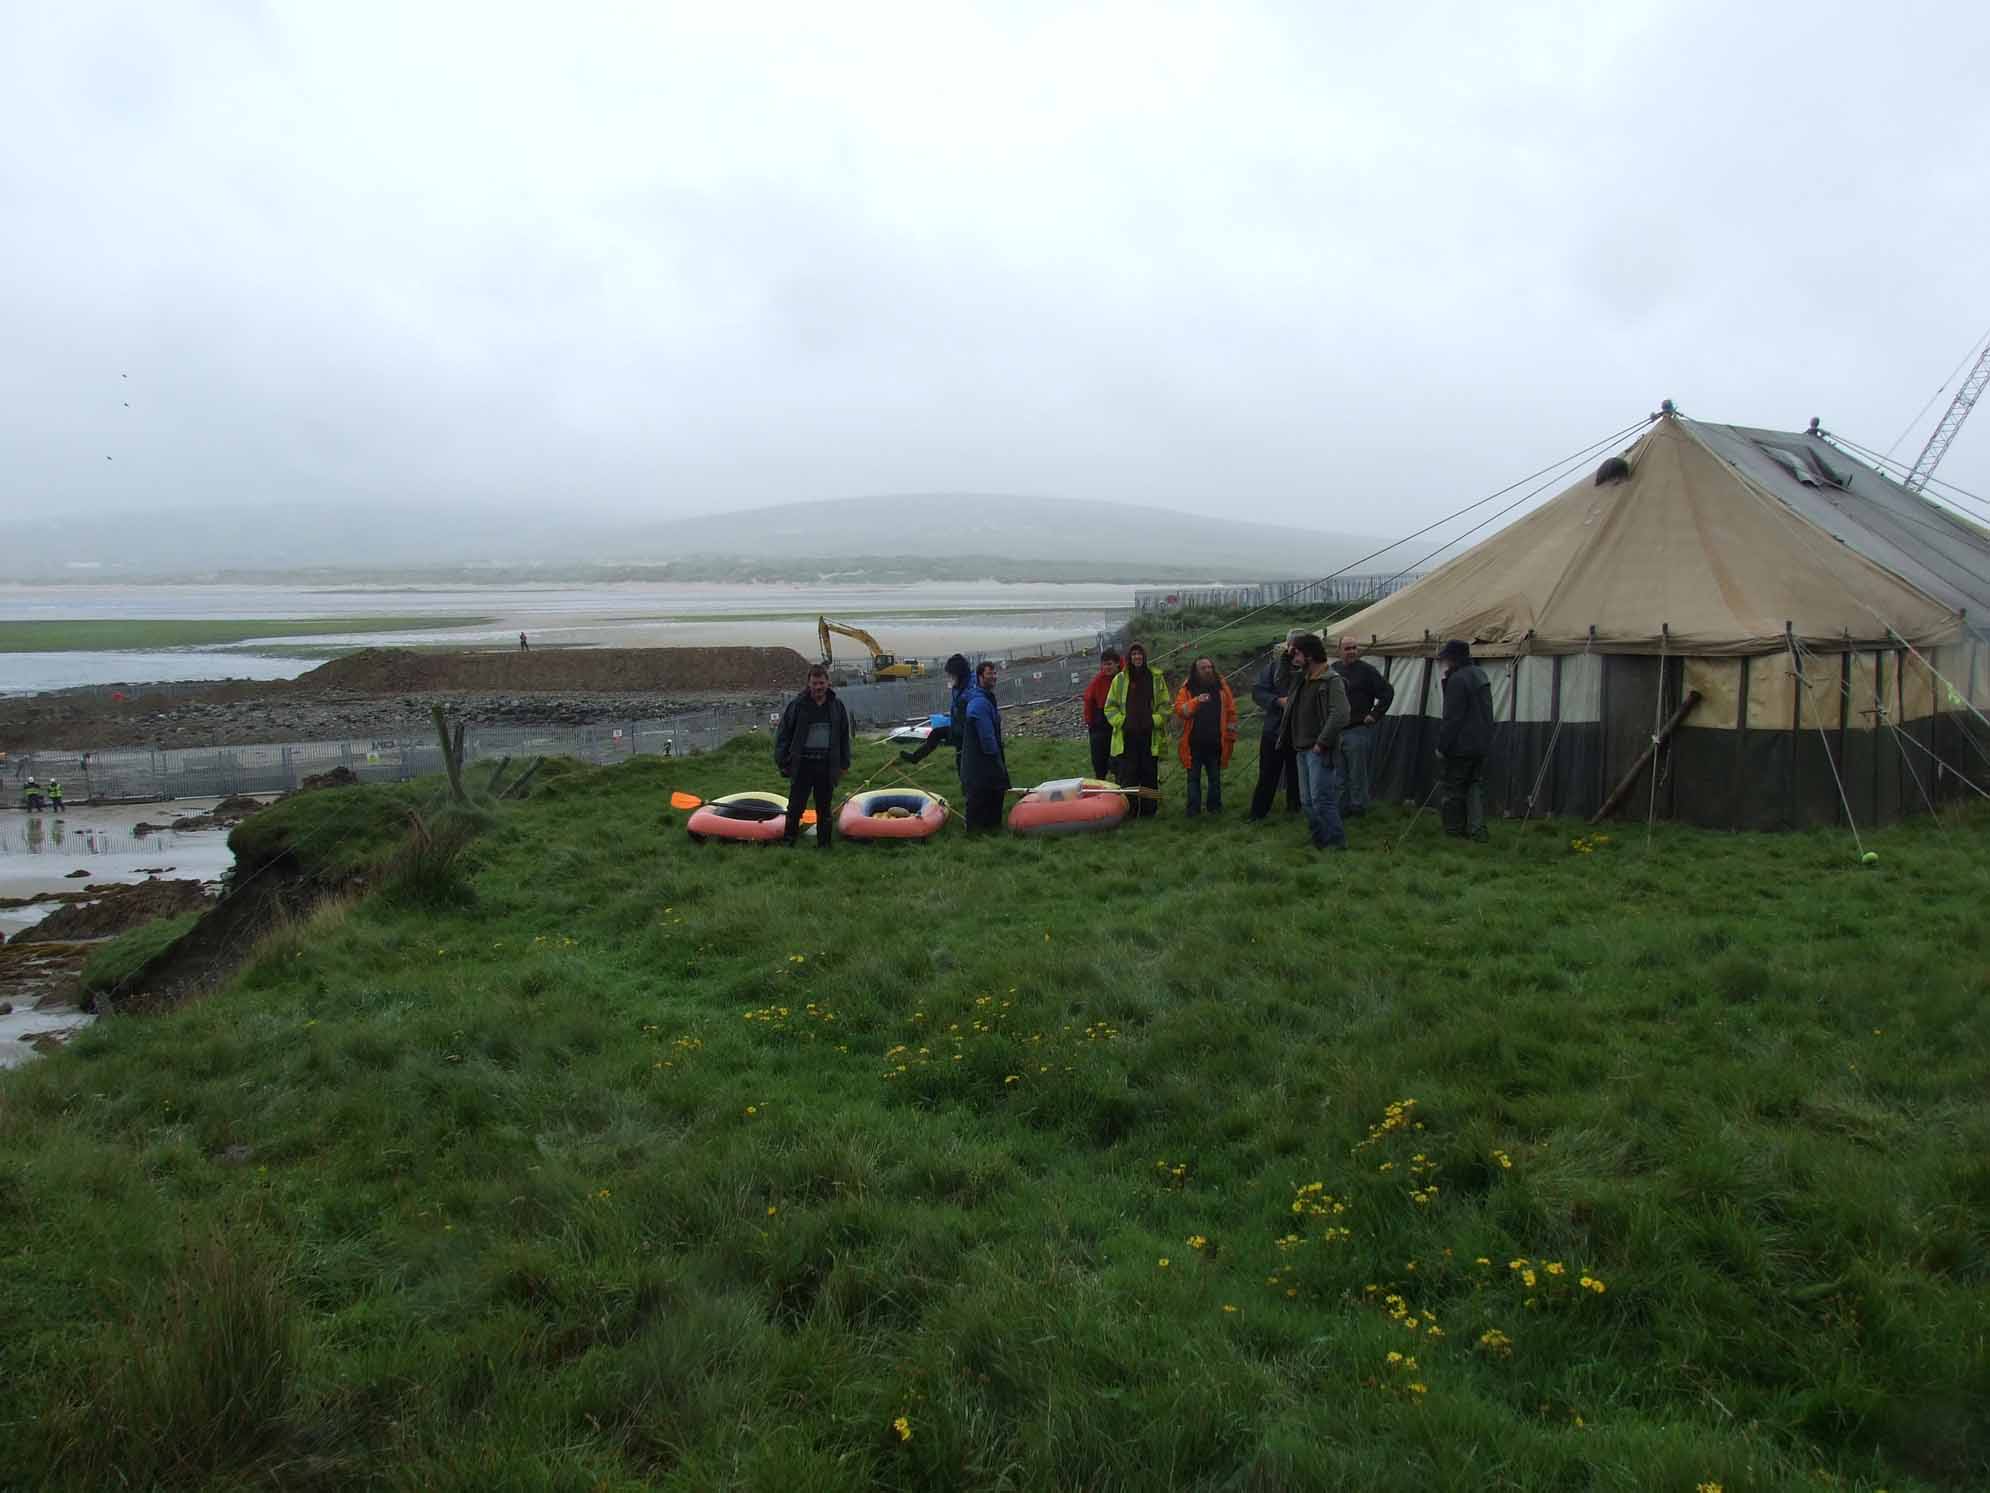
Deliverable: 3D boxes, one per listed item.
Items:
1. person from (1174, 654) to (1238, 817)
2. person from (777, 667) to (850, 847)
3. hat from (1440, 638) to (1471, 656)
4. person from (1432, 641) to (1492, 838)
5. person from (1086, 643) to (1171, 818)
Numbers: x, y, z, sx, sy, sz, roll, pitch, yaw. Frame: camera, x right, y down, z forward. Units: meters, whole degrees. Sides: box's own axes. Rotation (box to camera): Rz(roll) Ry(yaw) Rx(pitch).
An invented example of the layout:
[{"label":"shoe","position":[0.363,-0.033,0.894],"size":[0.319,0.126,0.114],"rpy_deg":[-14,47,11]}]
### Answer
[{"label":"person","position":[2.572,-0.139,16.151],"size":[0.651,2.045,1.418],"rpy_deg":[-1,11,8]},{"label":"person","position":[-2.086,0.117,15.287],"size":[0.834,2.217,0.588],"rpy_deg":[1,28,-8]},{"label":"hat","position":[5.020,-1.050,14.259],"size":[0.209,0.158,0.207],"rpy_deg":[-7,11,-35]},{"label":"person","position":[5.122,-0.055,14.332],"size":[0.474,2.144,0.765],"rpy_deg":[2,12,19]},{"label":"person","position":[1.747,-0.176,16.159],"size":[0.811,2.075,0.763],"rpy_deg":[-1,11,3]}]
